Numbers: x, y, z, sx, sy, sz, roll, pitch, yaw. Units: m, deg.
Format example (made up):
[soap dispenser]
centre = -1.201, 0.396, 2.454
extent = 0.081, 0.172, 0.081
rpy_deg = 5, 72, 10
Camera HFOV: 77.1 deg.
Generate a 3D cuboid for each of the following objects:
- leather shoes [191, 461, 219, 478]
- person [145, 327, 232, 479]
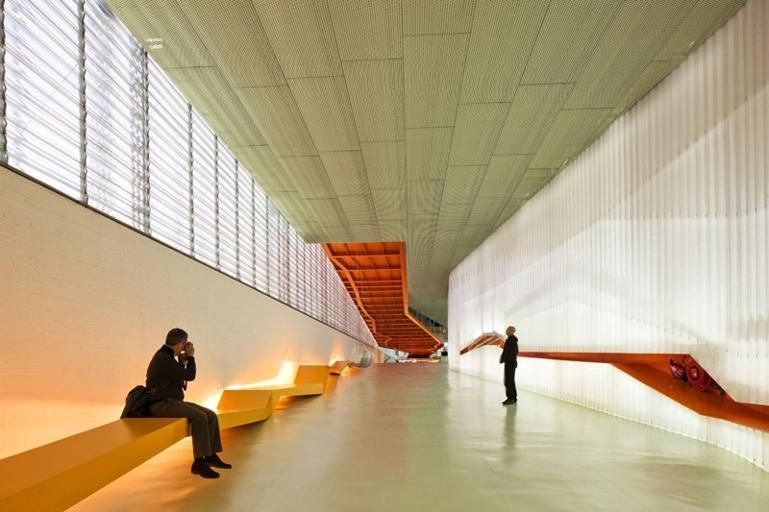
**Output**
[leather shoes]
centre = -1.858, 2.203, 4.958
extent = 0.325, 0.161, 0.120
rpy_deg = -1, -8, 7
[person]
centre = -2.132, 1.568, 5.279
extent = 0.925, 1.518, 0.420
rpy_deg = -2, -8, 14
